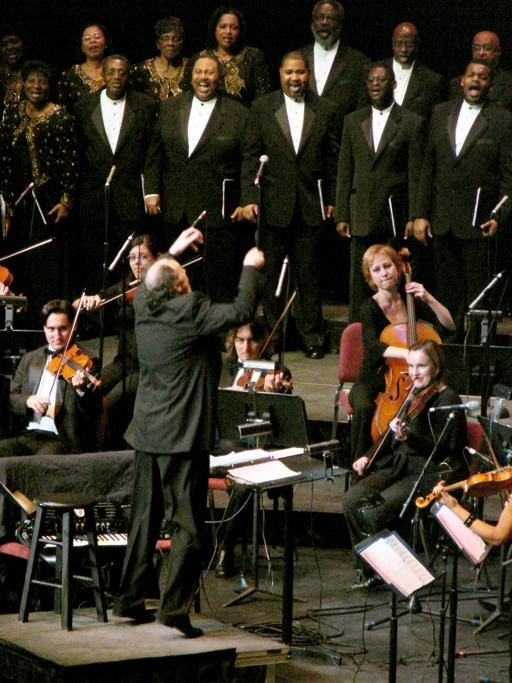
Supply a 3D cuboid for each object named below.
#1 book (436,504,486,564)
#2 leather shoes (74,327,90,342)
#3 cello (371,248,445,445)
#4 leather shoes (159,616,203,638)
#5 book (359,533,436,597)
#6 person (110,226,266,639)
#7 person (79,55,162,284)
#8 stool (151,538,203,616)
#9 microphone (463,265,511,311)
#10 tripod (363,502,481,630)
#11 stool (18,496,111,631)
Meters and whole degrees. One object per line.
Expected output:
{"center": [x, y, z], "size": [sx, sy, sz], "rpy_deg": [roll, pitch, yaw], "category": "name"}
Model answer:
{"center": [0.597, 0.567, 2.763], "size": [0.169, 0.040, 0.165], "rpy_deg": [39, 1, -32], "category": "book"}
{"center": [-1.149, -0.044, 6.352], "size": [0.109, 0.108, 0.197], "rpy_deg": [-10, 2, -15], "category": "leather shoes"}
{"center": [0.757, 0.016, 4.682], "size": [0.322, 0.251, 0.814], "rpy_deg": [1, -37, 8], "category": "cello"}
{"center": [-0.246, 0.937, 3.181], "size": [0.141, 0.086, 0.127], "rpy_deg": [1, 4, -4], "category": "leather shoes"}
{"center": [0.386, 0.624, 2.697], "size": [0.148, 0.047, 0.200], "rpy_deg": [-22, 46, -29], "category": "book"}
{"center": [-0.237, 0.332, 3.242], "size": [0.476, 1.291, 0.336], "rpy_deg": [2, 4, 4], "category": "person"}
{"center": [-0.940, -0.974, 6.264], "size": [0.494, 1.781, 0.483], "rpy_deg": [4, 37, -5], "category": "person"}
{"center": [-0.378, 1.004, 4.154], "size": [0.135, 0.208, 0.170], "rpy_deg": [-4, -11, -26], "category": "stool"}
{"center": [1.283, -0.300, 5.419], "size": [0.056, 0.392, 0.058], "rpy_deg": [29, 21, -6], "category": "microphone"}
{"center": [0.504, 0.618, 2.781], "size": [0.438, 0.101, 0.261], "rpy_deg": [-23, 38, -36], "category": "tripod"}
{"center": [-0.651, 0.768, 3.277], "size": [0.234, 0.377, 0.217], "rpy_deg": [-3, -11, 27], "category": "stool"}
